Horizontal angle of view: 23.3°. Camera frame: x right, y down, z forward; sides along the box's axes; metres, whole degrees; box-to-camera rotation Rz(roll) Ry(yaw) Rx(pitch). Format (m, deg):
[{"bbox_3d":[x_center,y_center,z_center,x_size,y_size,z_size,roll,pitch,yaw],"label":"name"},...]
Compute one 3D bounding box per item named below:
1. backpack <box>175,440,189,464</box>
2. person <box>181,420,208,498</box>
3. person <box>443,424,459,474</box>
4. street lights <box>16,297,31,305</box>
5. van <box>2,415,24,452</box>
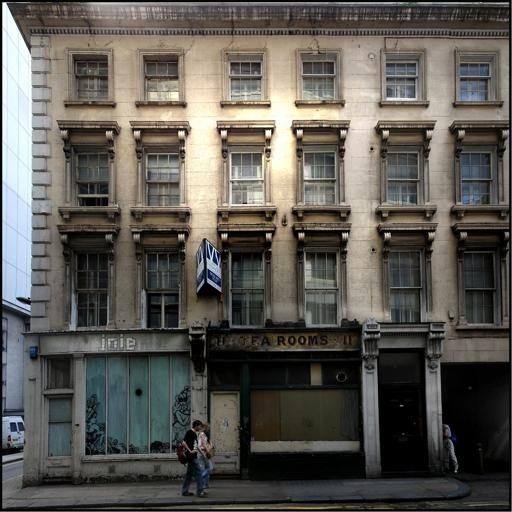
[{"bbox_3d":[-2.208,5.941,37.697,0.362,0.580,0.551,-15,-16,19],"label":"backpack"},{"bbox_3d":[-1.936,6.223,38.093,0.722,2.251,0.863,-1,8,-3],"label":"person"},{"bbox_3d":[6.509,6.396,41.544,0.523,1.678,1.520,0,9,9],"label":"person"},{"bbox_3d":[-11.141,2.130,59.269,0.753,0.364,0.567,-4,-11,38],"label":"street lights"},{"bbox_3d":[-10.430,7.565,53.123,0.871,1.386,2.502,-6,-8,-7],"label":"van"}]
